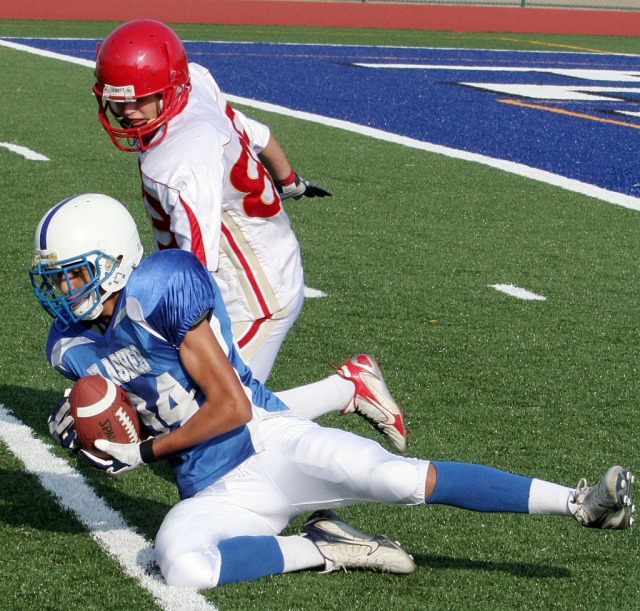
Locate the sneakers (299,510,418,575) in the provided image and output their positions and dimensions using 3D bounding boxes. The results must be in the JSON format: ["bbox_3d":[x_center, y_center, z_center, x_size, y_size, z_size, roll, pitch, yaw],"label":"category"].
[{"bbox_3d":[0.106,0.735,2.964,0.274,0.113,0.161,13,43,25],"label":"sneakers"}]

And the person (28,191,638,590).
[{"bbox_3d":[-0.099,0.171,3.063,1.493,0.925,1.137,2,9,-13],"label":"person"}]

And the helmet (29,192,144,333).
[{"bbox_3d":[-0.663,-0.162,2.881,0.281,0.325,0.388,9,34,36],"label":"helmet"}]

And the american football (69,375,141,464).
[{"bbox_3d":[-0.605,0.304,2.852,0.145,0.248,0.163,-30,17,14],"label":"american football"}]

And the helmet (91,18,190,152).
[{"bbox_3d":[-0.620,-0.815,3.441,0.312,0.362,0.438,13,43,21],"label":"helmet"}]

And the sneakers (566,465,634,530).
[{"bbox_3d":[0.793,0.568,2.745,0.141,0.299,0.100,-8,65,9],"label":"sneakers"}]

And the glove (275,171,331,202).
[{"bbox_3d":[-0.058,-0.521,4.152,0.293,0.127,0.100,2,66,-24],"label":"glove"}]

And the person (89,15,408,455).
[{"bbox_3d":[-0.341,-0.050,3.659,0.616,1.865,1.290,8,23,37],"label":"person"}]

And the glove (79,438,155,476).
[{"bbox_3d":[-0.576,0.419,2.808,0.143,0.049,0.109,-6,10,-30],"label":"glove"}]
